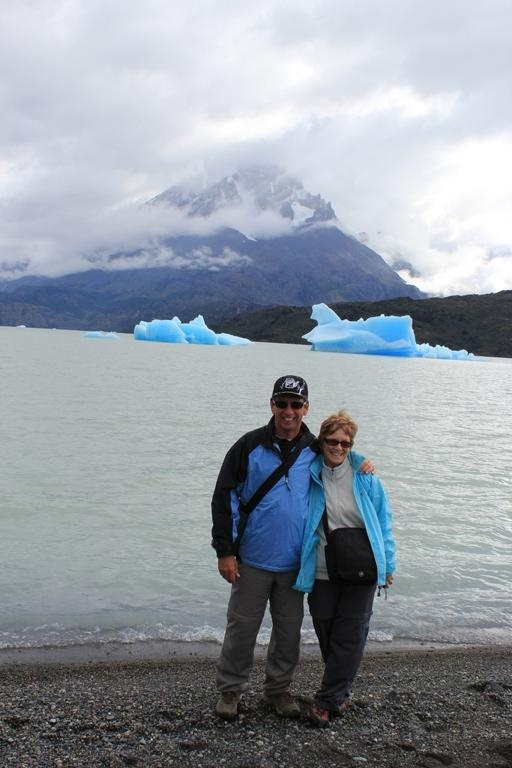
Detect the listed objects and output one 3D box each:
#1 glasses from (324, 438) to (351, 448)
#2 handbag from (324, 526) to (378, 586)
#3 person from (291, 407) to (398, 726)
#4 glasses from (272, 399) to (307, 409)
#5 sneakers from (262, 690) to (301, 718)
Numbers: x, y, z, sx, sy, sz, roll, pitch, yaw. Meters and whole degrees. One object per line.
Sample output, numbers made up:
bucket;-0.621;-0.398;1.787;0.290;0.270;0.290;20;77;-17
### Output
glasses;0.437;0.313;3.830;0.141;0.048;0.063;2;4;3
handbag;0.485;0.866;3.832;0.173;0.293;0.246;29;-17;-24
person;0.477;0.981;3.843;0.513;1.623;0.285;3;5;10
glasses;0.173;0.106;3.834;0.153;0.056;0.046;2;4;2
sneakers;0.144;1.763;3.980;0.094;0.084;0.211;2;-7;-41
